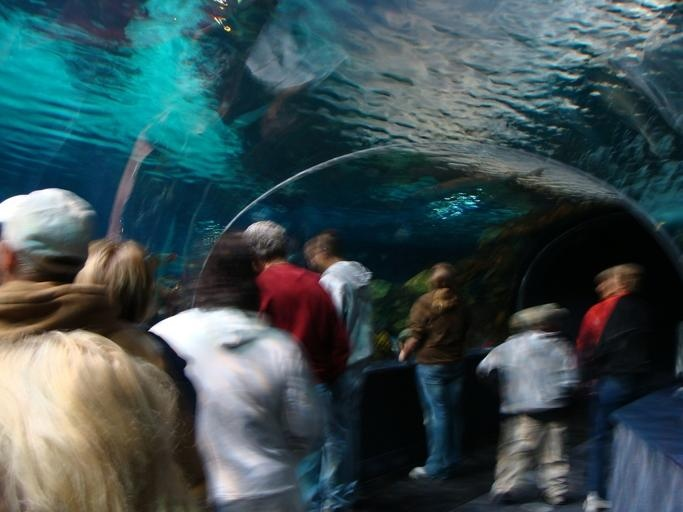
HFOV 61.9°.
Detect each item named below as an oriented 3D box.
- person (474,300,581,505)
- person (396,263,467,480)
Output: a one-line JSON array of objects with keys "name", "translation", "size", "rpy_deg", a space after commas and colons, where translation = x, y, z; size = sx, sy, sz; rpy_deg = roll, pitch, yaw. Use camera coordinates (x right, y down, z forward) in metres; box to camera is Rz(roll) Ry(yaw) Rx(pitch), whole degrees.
[{"name": "person", "translation": [1.578, 1.248, 4.771], "size": [0.742, 1.668, 0.603], "rpy_deg": [3, -9, 16]}, {"name": "person", "translation": [0.797, 1.054, 4.964], "size": [0.588, 1.806, 0.420], "rpy_deg": [6, -8, -5]}]
